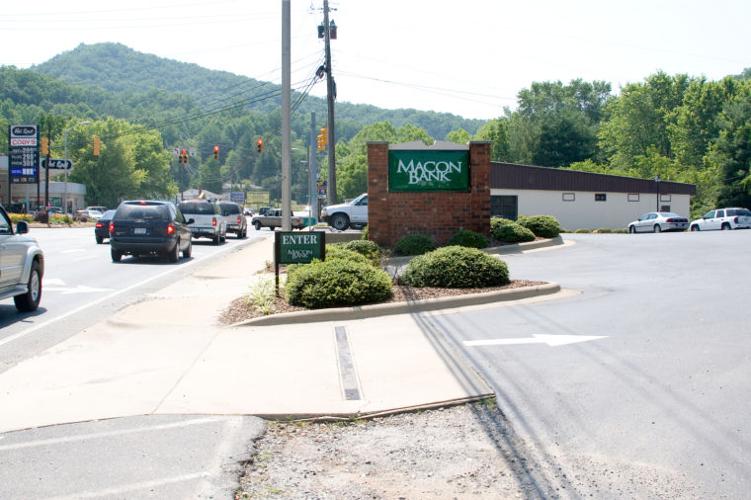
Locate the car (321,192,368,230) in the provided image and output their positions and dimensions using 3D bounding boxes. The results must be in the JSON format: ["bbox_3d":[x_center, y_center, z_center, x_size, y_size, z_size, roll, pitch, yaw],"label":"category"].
[{"bbox_3d":[-1.543,-2.005,36.129,2.842,1.408,1.662,1,-1,0],"label":"car"}]

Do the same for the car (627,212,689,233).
[{"bbox_3d":[18.239,-1.681,41.805,1.629,1.420,3.598,-3,9,-12],"label":"car"}]
